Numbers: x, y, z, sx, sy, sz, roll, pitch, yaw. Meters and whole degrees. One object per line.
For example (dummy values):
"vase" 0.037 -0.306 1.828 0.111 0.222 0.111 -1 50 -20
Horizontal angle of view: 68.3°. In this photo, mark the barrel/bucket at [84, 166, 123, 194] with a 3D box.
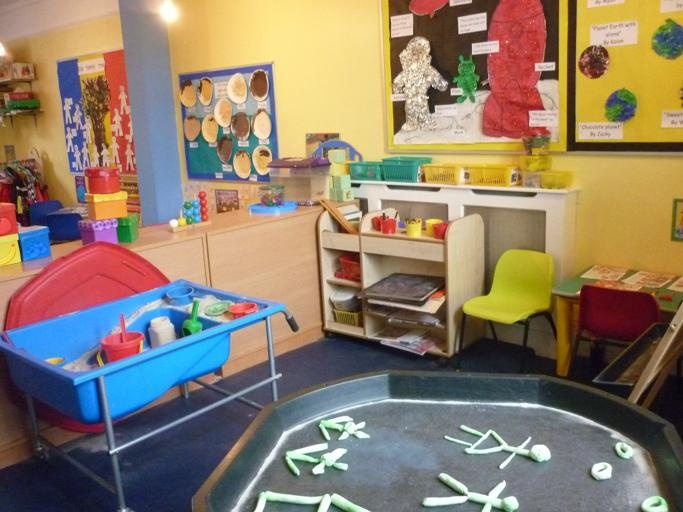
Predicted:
"barrel/bucket" -1.434 -0.461 3.042 0.172 0.128 0.175 -1 8 0

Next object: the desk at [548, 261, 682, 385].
"desk" 1.762 0.379 3.252 0.767 0.585 0.736 8 17 37

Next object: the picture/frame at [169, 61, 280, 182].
"picture/frame" -1.176 -1.377 5.334 0.054 1.213 1.405 13 21 31

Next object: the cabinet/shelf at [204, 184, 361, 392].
"cabinet/shelf" -0.412 0.255 3.695 0.620 1.205 1.333 7 13 38

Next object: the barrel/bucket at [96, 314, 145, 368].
"barrel/bucket" -1.028 0.404 2.389 0.187 0.230 0.264 -7 13 -19

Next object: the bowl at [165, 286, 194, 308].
"bowl" -0.912 0.224 2.859 0.096 0.044 0.150 11 14 26

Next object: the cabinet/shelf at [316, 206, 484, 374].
"cabinet/shelf" 0.461 0.127 4.037 1.191 1.097 0.614 5 13 36

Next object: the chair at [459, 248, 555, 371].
"chair" 1.159 0.401 3.504 0.631 0.775 0.652 4 15 33

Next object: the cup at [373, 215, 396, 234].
"cup" 0.335 -0.243 3.871 0.114 0.087 0.171 -3 8 -9

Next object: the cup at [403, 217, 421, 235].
"cup" 0.528 -0.222 3.732 0.112 0.115 0.105 -1 13 0

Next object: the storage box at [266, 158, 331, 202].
"storage box" -0.341 -0.707 4.371 0.605 0.494 0.356 9 18 33

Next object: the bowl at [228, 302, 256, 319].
"bowl" -0.498 0.266 2.584 0.085 0.038 0.099 3 12 23

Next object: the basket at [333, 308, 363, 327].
"basket" 0.053 0.507 4.176 0.179 0.084 0.129 1 7 28
